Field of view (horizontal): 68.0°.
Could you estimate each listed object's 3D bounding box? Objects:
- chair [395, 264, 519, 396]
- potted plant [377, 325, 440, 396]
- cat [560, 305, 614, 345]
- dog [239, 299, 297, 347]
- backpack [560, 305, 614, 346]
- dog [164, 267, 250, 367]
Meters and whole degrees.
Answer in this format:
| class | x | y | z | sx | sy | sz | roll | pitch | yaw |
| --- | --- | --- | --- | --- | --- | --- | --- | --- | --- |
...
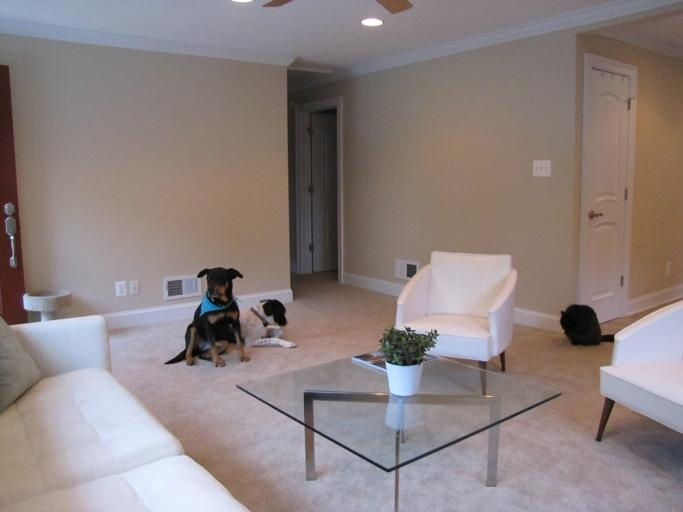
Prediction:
| class | x | y | z | sx | sy | sz | roll | pitch | yaw |
| --- | --- | --- | --- | --- | --- | --- | --- | --- | --- |
| chair | 0.879 | 0.426 | 3.735 | 0.801 | 0.950 | 0.867 | 3 | 6 | 28 |
| potted plant | 0.296 | 0.493 | 2.682 | 0.384 | 0.408 | 0.316 | 0 | 2 | -6 |
| cat | 2.190 | 0.646 | 4.470 | 0.476 | 0.353 | 0.278 | 26 | -34 | -25 |
| dog | -0.805 | 0.624 | 4.727 | 0.892 | 0.419 | 0.276 | -1 | 1 | 27 |
| backpack | 2.146 | 0.678 | 4.540 | 0.479 | 0.355 | 0.280 | 26 | -34 | -25 |
| dog | -1.092 | 0.478 | 4.188 | 0.661 | 0.760 | 0.527 | -3 | 8 | 32 |
